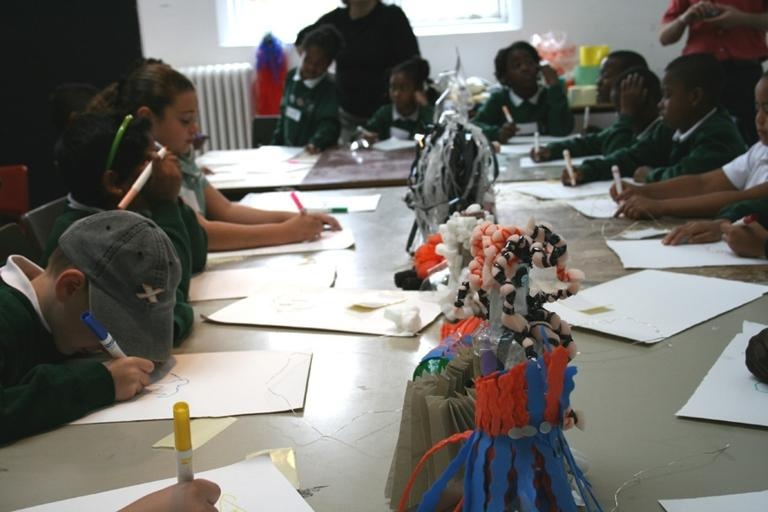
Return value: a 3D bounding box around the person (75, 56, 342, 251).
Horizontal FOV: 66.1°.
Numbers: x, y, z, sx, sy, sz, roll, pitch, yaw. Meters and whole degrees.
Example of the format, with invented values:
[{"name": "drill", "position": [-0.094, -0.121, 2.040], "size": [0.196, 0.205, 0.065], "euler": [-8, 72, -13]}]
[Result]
[{"name": "person", "position": [-0.494, -0.307, 1.941], "size": [0.711, 0.448, 0.701], "euler": [-1, 22, -6]}]
